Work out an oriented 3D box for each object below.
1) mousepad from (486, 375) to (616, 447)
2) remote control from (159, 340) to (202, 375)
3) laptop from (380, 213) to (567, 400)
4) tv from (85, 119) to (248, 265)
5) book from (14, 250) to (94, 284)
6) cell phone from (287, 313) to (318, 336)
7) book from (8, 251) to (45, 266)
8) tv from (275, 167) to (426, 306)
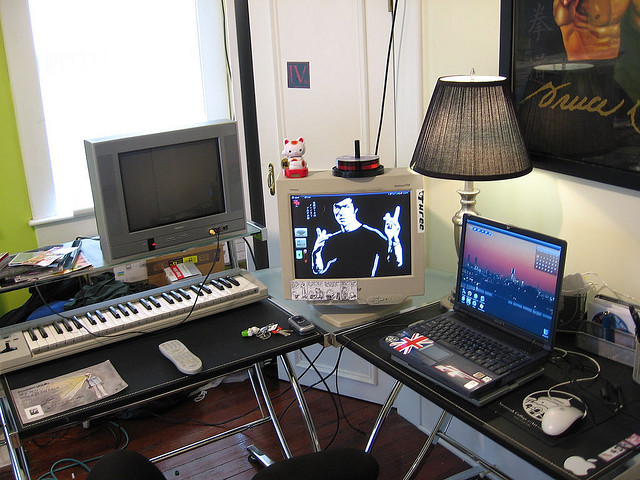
[{"bbox_3d":[0.689,0.524,1.493,0.189,0.009,0.174,-20,30,-29],"label":"mousepad"},{"bbox_3d":[-0.521,0.435,1.811,0.077,0.041,0.239,-20,25,-37],"label":"remote control"},{"bbox_3d":[0.519,0.203,1.671,0.459,0.457,0.404,-15,23,-27],"label":"laptop"},{"bbox_3d":[-0.758,-0.268,2.365,0.682,0.539,0.326,-17,29,-33],"label":"tv"},{"bbox_3d":[-1.140,0.128,2.090,0.167,0.033,0.304,13,26,41],"label":"book"},{"bbox_3d":[-0.077,0.340,1.986,0.091,0.038,0.131,-16,22,-28],"label":"cell phone"},{"bbox_3d":[-1.273,0.080,2.108,0.092,0.009,0.123,-20,20,-31],"label":"book"},{"bbox_3d":[0.149,-0.043,2.103,0.607,0.554,0.335,0,18,12],"label":"tv"}]
